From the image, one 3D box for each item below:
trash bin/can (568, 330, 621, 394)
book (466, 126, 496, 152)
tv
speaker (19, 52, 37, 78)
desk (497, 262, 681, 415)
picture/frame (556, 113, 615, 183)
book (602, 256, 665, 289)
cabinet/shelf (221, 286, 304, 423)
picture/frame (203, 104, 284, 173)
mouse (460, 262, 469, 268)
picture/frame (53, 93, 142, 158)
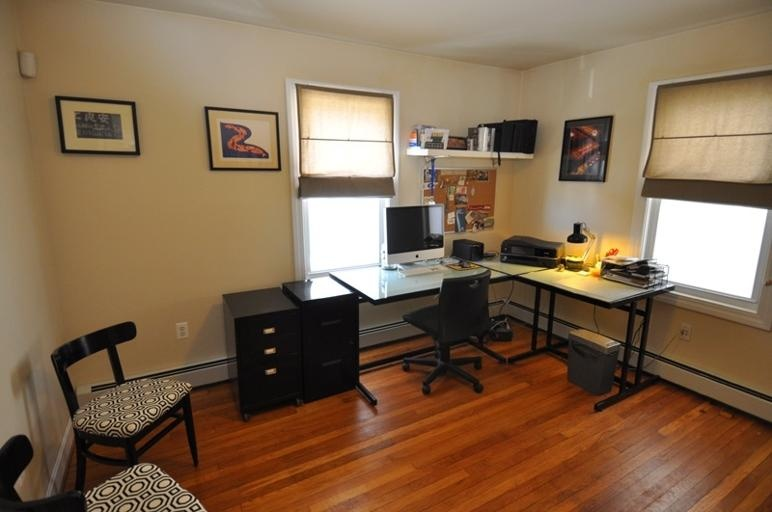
[{"bbox_3d":[1.832,0.954,4.618,0.197,0.542,0.424,-10,18,-35],"label":"trash bin/can"},{"bbox_3d":[0.968,-1.179,5.510,0.359,0.346,0.261,1,10,4],"label":"book"},{"bbox_3d":[0.258,-0.183,5.065,0.638,0.531,0.081,-6,10,-29],"label":"tv"},{"bbox_3d":[-2.696,-1.434,3.932,0.119,0.196,0.082,-10,17,-31],"label":"speaker"},{"bbox_3d":[1.970,0.744,5.079,1.198,1.172,1.420,-6,12,-30],"label":"desk"},{"bbox_3d":[2.002,-1.070,5.172,0.060,0.823,0.632,-10,18,-43],"label":"picture/frame"},{"bbox_3d":[2.228,0.090,4.695,0.336,0.150,0.352,-6,15,-25],"label":"book"},{"bbox_3d":[-1.046,0.835,4.524,0.557,0.905,0.519,-8,16,-24],"label":"cabinet/shelf"},{"bbox_3d":[-1.273,-1.028,4.545,0.637,0.516,0.039,-3,10,-27],"label":"picture/frame"},{"bbox_3d":[0.798,0.089,5.289,0.055,0.020,0.083,-2,16,-7],"label":"mouse"},{"bbox_3d":[-2.321,-1.039,4.144,0.562,0.449,0.059,-1,5,-27],"label":"picture/frame"}]
